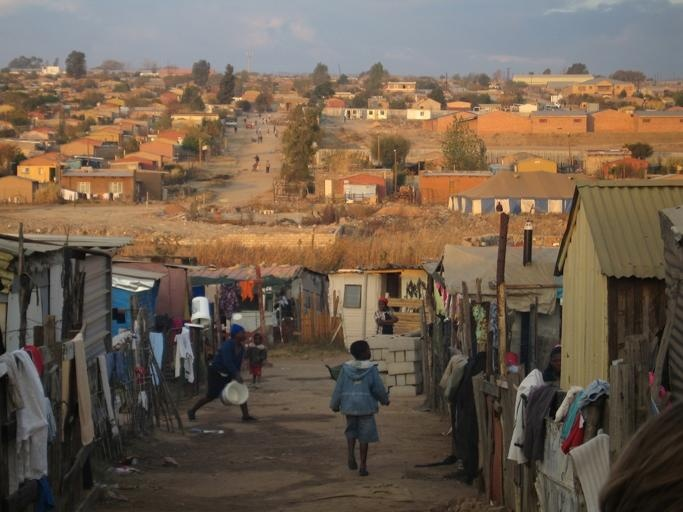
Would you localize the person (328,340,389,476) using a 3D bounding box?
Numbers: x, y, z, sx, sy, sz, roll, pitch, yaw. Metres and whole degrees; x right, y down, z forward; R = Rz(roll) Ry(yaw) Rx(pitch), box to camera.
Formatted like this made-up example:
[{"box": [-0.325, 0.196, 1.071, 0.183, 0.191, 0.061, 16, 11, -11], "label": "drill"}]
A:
[{"box": [0.266, 2.231, 16.783, 0.835, 1.857, 0.966, -1, 8, -3], "label": "person"}]

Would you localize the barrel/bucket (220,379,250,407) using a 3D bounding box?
[{"box": [-1.842, 2.401, 19.634, 0.429, 0.436, 0.327, 6, -7, -42], "label": "barrel/bucket"}]

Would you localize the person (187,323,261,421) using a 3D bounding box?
[{"box": [-2.044, 2.106, 19.785, 0.717, 1.455, 1.212, 6, 10, 39], "label": "person"}]

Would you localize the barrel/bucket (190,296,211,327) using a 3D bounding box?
[{"box": [-2.960, 1.209, 23.948, 0.478, 0.593, 0.525, -1, -23, -1], "label": "barrel/bucket"}]

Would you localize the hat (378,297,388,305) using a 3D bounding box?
[{"box": [0.878, 0.994, 24.393, 0.112, 0.161, 0.162, 2, 24, 12], "label": "hat"}]

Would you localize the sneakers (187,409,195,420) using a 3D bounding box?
[{"box": [-2.596, 2.769, 19.706, 0.136, 0.209, 0.289, -2, 8, -8], "label": "sneakers"}]

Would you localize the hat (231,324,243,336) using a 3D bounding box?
[{"box": [-1.917, 1.383, 20.868, 0.070, 0.232, 0.211, 25, -22, -32], "label": "hat"}]
